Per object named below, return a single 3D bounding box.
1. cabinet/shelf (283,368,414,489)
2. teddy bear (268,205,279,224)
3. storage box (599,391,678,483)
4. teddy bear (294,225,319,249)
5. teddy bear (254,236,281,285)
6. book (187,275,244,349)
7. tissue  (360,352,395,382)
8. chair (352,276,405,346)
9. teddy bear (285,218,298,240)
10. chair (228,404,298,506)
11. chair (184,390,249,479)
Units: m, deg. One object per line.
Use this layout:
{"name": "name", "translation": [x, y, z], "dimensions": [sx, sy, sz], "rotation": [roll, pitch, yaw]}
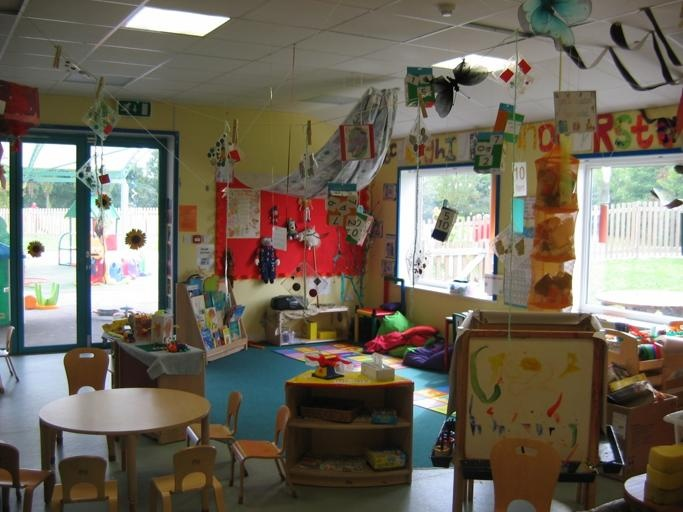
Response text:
{"name": "cabinet/shelf", "translation": [0.055, 1.337, 5.695], "dimensions": [1.298, 1.162, 0.904], "rotation": [0, -1, -1]}
{"name": "teddy bear", "translation": [-1.063, -0.657, 9.560], "dimensions": [0.154, 0.307, 0.079], "rotation": [1, -1, -13]}
{"name": "storage box", "translation": [2.778, 1.663, 5.591], "dimensions": [0.725, 0.747, 0.229], "rotation": [1, -2, -26]}
{"name": "teddy bear", "translation": [-0.522, -0.315, 9.877], "dimensions": [0.230, 0.378, 0.458], "rotation": [-1, -2, 38]}
{"name": "teddy bear", "translation": [-1.170, 0.068, 9.616], "dimensions": [0.239, 0.734, 0.398], "rotation": [0, -2, 36]}
{"name": "book", "translation": [-1.810, 0.814, 8.517], "dimensions": [0.306, 0.874, 0.893], "rotation": [-7, 13, 6]}
{"name": "tissue ", "translation": [0.339, 0.923, 5.549], "dimensions": [0.206, 0.275, 0.389], "rotation": [-3, 4, -22]}
{"name": "chair", "translation": [0.627, 0.917, 9.978], "dimensions": [0.820, 1.176, 0.801], "rotation": [5, 3, 32]}
{"name": "teddy bear", "translation": [-0.785, -0.446, 9.727], "dimensions": [0.101, 0.343, 0.219], "rotation": [-1, -2, 42]}
{"name": "chair", "translation": [-0.683, 1.674, 5.478], "dimensions": [0.696, 1.061, 0.670], "rotation": [2, 1, -19]}
{"name": "chair", "translation": [-1.179, 1.578, 5.576], "dimensions": [0.430, 0.651, 0.370], "rotation": [1, 6, -31]}
